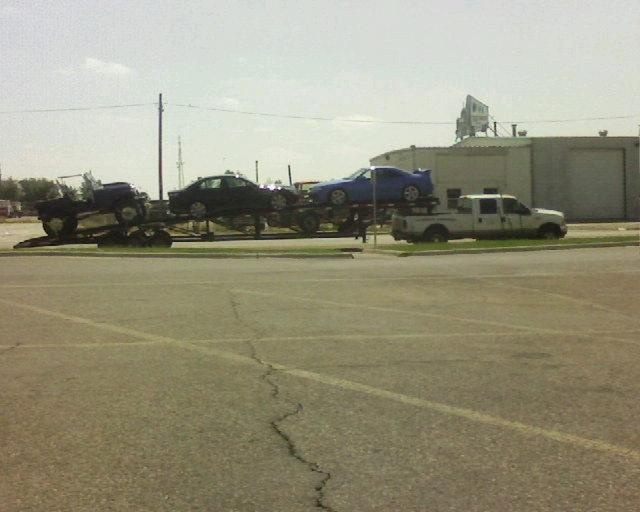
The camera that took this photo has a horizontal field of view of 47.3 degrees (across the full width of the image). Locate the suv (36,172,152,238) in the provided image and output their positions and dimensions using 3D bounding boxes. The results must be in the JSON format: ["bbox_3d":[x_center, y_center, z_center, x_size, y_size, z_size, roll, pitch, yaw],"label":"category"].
[{"bbox_3d":[-8.406,-1.777,27.279,3.881,1.571,2.105,-11,11,-12],"label":"suv"}]

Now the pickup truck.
[{"bbox_3d":[5.548,-1.238,25.674,4.991,1.417,2.215,-2,7,-4],"label":"pickup truck"}]
